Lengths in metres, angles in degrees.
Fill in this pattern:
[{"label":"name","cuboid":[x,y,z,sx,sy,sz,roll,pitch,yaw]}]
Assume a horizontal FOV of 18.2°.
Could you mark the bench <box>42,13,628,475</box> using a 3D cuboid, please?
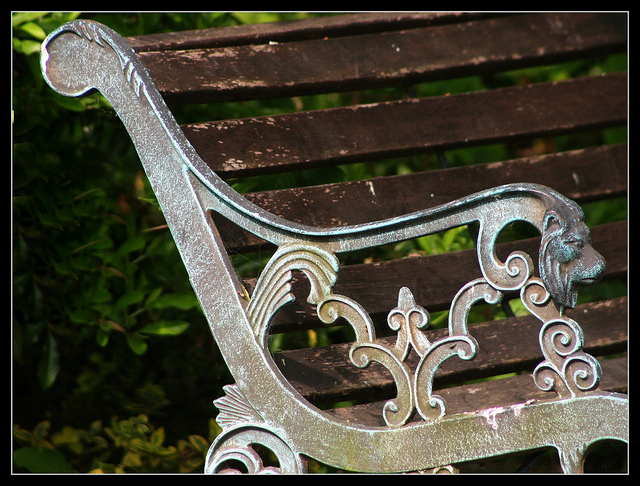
[{"label":"bench","cuboid":[0.242,-0.048,6.374,2.089,1.169,1.516,-3,11,-39]}]
